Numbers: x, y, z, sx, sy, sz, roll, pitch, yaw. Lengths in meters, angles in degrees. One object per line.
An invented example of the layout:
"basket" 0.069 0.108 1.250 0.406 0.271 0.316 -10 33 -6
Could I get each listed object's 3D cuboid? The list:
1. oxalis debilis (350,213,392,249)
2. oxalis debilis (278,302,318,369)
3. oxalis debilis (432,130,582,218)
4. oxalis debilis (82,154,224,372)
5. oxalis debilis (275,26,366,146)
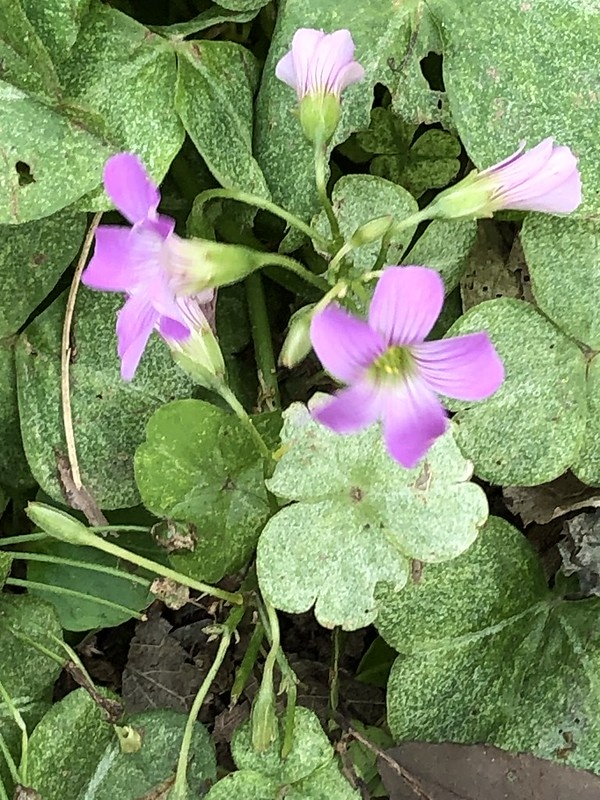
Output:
"oxalis debilis" 0.055 -0.132 0.578 0.042 0.015 0.015 -30 90 11
"oxalis debilis" 0.002 -0.055 0.630 0.018 0.031 0.056 33 36 -19
"oxalis debilis" 0.166 -0.179 0.600 0.096 0.037 0.066 -12 85 -5
"oxalis debilis" -0.108 -0.098 0.549 0.064 0.159 0.145 -30 116 -17
"oxalis debilis" 0.016 -0.266 0.604 0.065 0.043 0.108 0 74 1
